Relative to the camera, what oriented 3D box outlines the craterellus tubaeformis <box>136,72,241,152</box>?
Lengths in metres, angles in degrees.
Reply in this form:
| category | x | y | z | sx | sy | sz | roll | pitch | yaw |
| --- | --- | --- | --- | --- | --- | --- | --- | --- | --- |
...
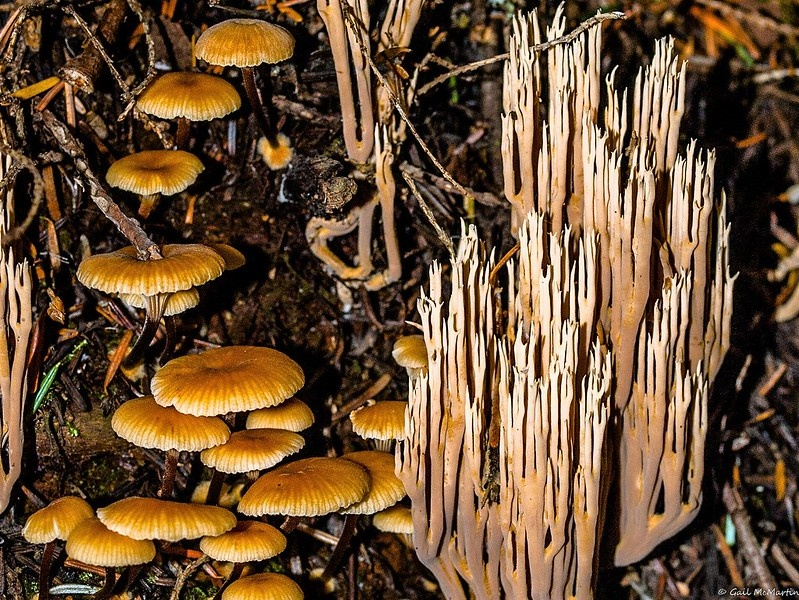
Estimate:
| category | x | y | z | sx | sy | sz | roll | pitch | yaw |
| --- | --- | --- | --- | --- | --- | --- | --- | --- | --- |
| craterellus tubaeformis | -1.079 | -0.999 | 5.352 | 0.316 | 0.367 | 0.381 | 5 | 41 | -3 |

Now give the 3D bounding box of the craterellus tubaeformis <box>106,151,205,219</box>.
| category | x | y | z | sx | sy | sz | roll | pitch | yaw |
| --- | --- | --- | --- | --- | --- | --- | --- | --- | --- |
| craterellus tubaeformis | -1.278 | -0.609 | 5.400 | 0.326 | 0.353 | 0.331 | 33 | 41 | 24 |

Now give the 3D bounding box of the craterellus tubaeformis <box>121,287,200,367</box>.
| category | x | y | z | sx | sy | sz | roll | pitch | yaw |
| --- | --- | --- | --- | --- | --- | --- | --- | --- | --- |
| craterellus tubaeformis | -1.248 | 0.119 | 5.258 | 0.283 | 0.366 | 0.318 | 16 | -4 | 38 |
